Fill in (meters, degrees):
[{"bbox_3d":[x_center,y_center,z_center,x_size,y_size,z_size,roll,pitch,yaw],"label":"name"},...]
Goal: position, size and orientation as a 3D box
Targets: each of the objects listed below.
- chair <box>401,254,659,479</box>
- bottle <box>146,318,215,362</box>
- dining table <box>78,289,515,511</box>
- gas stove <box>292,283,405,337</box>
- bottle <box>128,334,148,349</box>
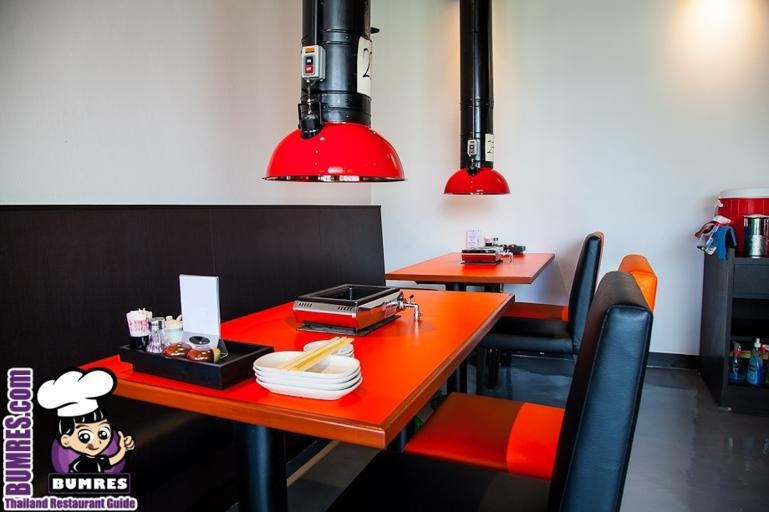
[{"bbox_3d":[0.809,0.469,2.956,0.966,1.653,0.957,6,7,20],"label":"chair"},{"bbox_3d":[-0.773,0.325,2.058,0.225,0.086,0.162,6,1,18],"label":"bottle"},{"bbox_3d":[-0.427,0.608,2.308,0.646,0.558,1.148,4,12,20],"label":"dining table"},{"bbox_3d":[-0.189,0.244,2.500,0.284,0.111,0.315,1,5,25],"label":"gas stove"},{"bbox_3d":[-0.969,0.329,2.138,0.056,0.033,0.055,1,4,0],"label":"bottle"}]
